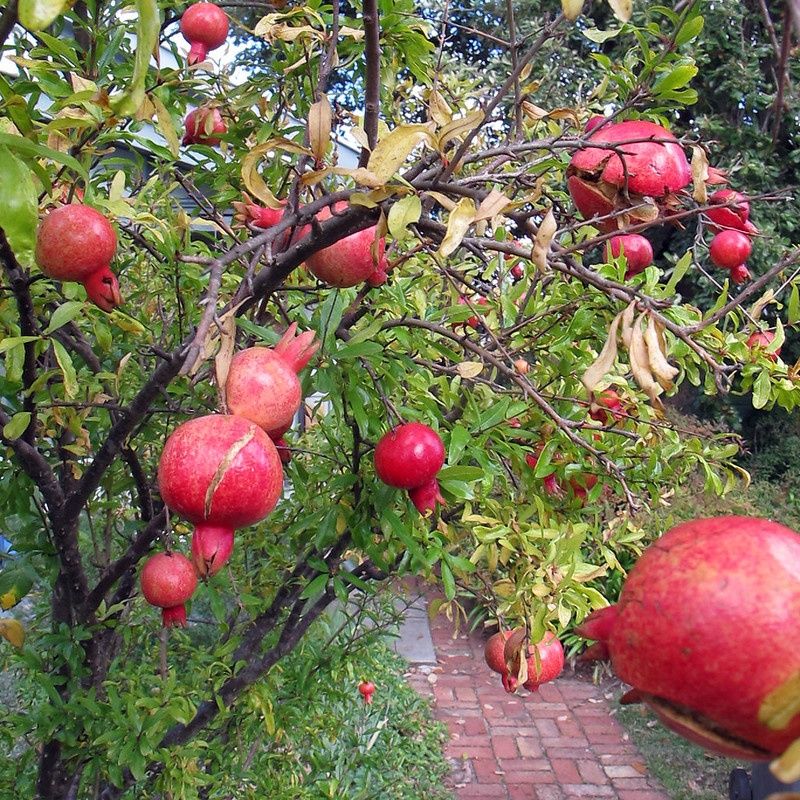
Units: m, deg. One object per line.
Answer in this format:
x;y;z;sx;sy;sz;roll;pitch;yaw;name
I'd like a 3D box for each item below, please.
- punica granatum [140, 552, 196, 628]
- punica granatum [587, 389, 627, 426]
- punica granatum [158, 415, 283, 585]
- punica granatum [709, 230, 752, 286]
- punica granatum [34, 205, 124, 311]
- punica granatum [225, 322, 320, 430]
-0.506;0.418;1.778;0.121;0.152;0.104;1;10;3;punica granatum
0.459;0.015;1.810;0.121;0.080;0.210;0;-1;2;punica granatum
-0.271;0.140;1.210;0.196;0.225;0.183;6;-10;-12;punica granatum
0.645;-0.270;1.583;0.095;0.098;0.092;-15;7;25;punica granatum
-0.563;-0.241;1.383;0.138;0.175;0.137;-2;19;-1;punica granatum
-0.193;-0.044;1.284;0.126;0.165;0.117;20;10;-17;punica granatum
